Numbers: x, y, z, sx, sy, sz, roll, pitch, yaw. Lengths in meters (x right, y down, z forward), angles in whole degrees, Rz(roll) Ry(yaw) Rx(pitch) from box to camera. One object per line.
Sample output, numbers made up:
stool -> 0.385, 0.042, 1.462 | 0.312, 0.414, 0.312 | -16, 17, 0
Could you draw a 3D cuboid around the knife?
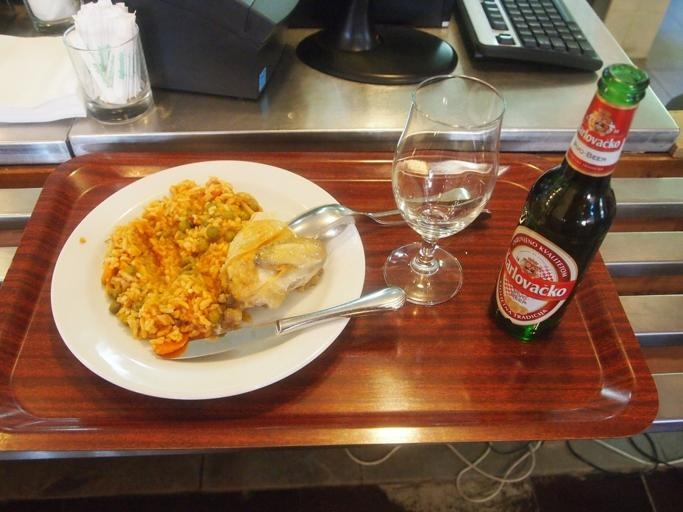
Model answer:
knife -> -0.121, 0.140, 1.073 | 0.413, 0.031, 0.054 | -12, 42, -1
